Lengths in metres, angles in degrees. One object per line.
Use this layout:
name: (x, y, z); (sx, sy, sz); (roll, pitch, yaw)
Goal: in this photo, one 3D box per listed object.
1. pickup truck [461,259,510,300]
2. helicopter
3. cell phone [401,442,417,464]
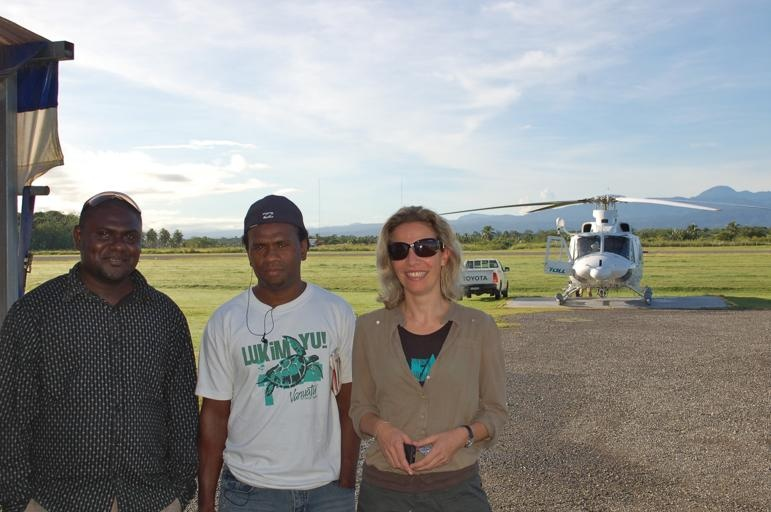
pickup truck: (3.622, 0.689, 24.995); (1.917, 1.159, 3.384); (0, 5, 19)
helicopter: (5.977, -0.277, 22.049); (3.934, 4.361, 8.713); (0, -1, -37)
cell phone: (0.168, 1.336, 4.456); (0.037, 0.119, 0.098); (7, -6, -20)
